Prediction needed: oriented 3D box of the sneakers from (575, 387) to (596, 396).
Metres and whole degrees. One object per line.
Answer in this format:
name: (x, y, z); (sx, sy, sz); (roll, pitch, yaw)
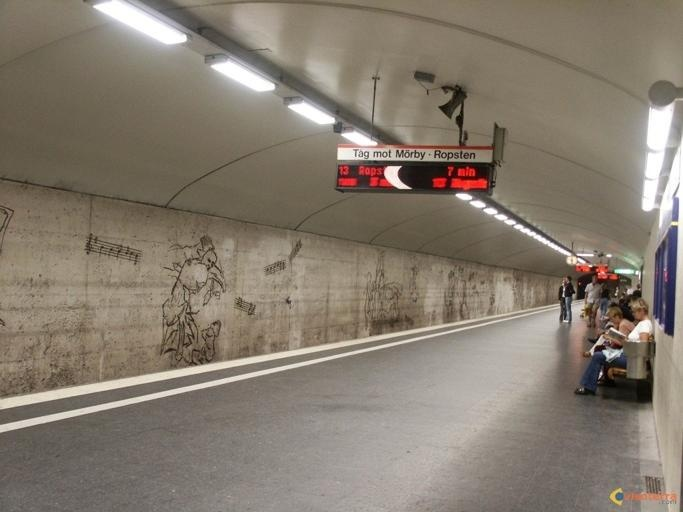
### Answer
sneakers: (4.869, 2.754, 9.335); (0.515, 0.161, 0.208); (6, -9, -21)

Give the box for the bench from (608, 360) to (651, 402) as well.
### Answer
bench: (5.741, 2.565, 9.367); (0.825, 0.641, 0.328); (-1, -8, 24)

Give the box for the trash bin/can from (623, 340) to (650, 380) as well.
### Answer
trash bin/can: (5.052, 1.831, 8.045); (0.470, 0.605, 0.524); (-4, -16, 21)
